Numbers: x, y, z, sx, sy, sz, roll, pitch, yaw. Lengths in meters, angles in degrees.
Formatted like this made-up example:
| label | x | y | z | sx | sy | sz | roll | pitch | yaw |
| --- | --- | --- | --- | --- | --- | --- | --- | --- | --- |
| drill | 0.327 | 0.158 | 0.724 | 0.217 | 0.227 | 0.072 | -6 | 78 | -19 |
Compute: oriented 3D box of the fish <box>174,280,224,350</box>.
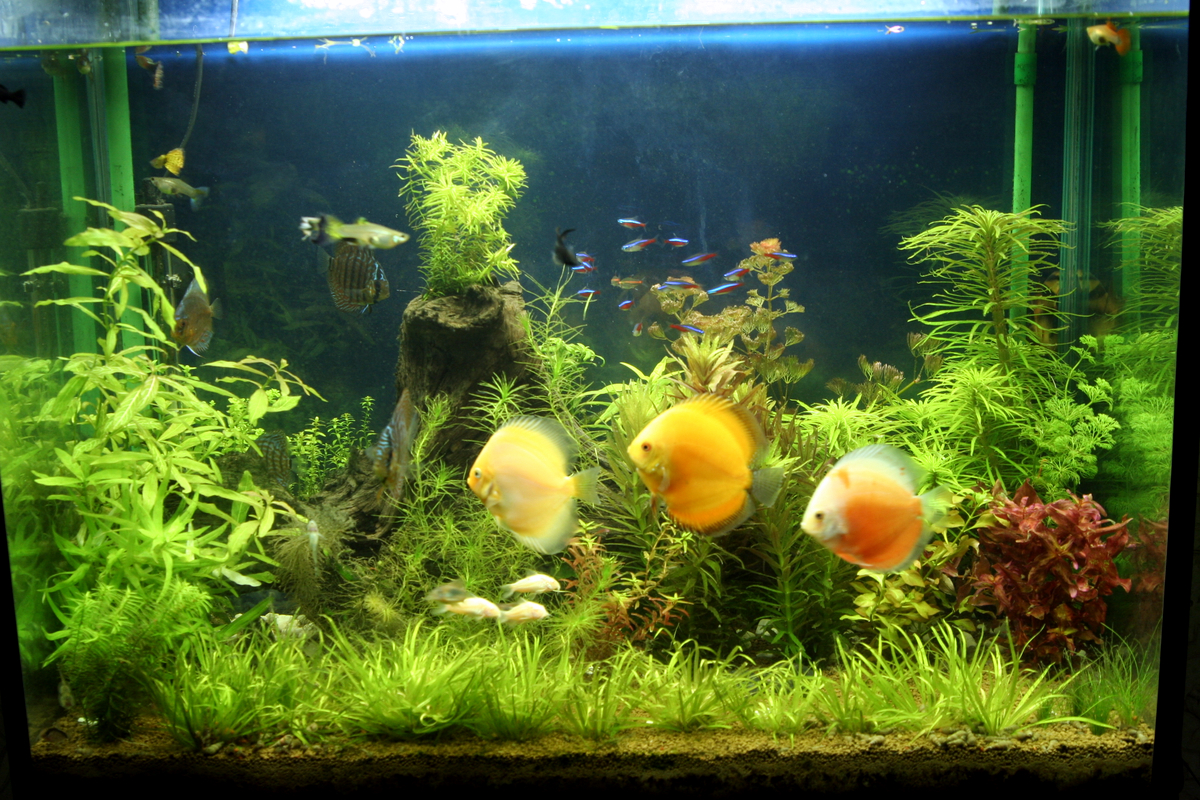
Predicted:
| label | x | y | z | sx | sy | sz | roll | pitch | yaw |
| --- | --- | --- | --- | --- | --- | --- | --- | --- | --- |
| fish | -2.153 | -0.430 | 5.665 | 0.202 | 0.376 | 0.091 | -1 | 4 | -10 |

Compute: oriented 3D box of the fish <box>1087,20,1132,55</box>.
| label | x | y | z | sx | sy | sz | roll | pitch | yaw |
| --- | --- | --- | --- | --- | --- | --- | --- | --- | --- |
| fish | 2.547 | -1.809 | 5.327 | 0.075 | 0.194 | 0.253 | -1 | 4 | -11 |

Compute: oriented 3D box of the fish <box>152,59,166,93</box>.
| label | x | y | z | sx | sy | sz | roll | pitch | yaw |
| --- | --- | --- | --- | --- | --- | --- | --- | --- | --- |
| fish | -2.351 | -1.724 | 5.668 | 0.068 | 0.141 | 0.014 | -1 | 4 | -16 |

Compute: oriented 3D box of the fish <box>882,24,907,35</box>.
| label | x | y | z | sx | sy | sz | roll | pitch | yaw |
| --- | --- | --- | --- | --- | --- | --- | --- | --- | --- |
| fish | 1.622 | -2.043 | 5.855 | 0.102 | 0.046 | 0.049 | 9 | 25 | 21 |

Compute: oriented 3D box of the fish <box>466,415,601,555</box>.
| label | x | y | z | sx | sy | sz | roll | pitch | yaw |
| --- | --- | --- | --- | --- | --- | --- | --- | --- | --- |
| fish | -0.299 | 0.426 | 4.890 | 0.777 | 0.657 | 0.145 | 3 | -1 | -14 |

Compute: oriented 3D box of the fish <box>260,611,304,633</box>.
| label | x | y | z | sx | sy | sz | roll | pitch | yaw |
| --- | --- | --- | --- | --- | --- | --- | --- | --- | --- |
| fish | -1.578 | 1.130 | 5.383 | 0.249 | 0.069 | 0.171 | 4 | 6 | 41 |

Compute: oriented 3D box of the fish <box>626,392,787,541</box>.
| label | x | y | z | sx | sy | sz | roll | pitch | yaw |
| --- | --- | --- | --- | --- | --- | --- | --- | --- | --- |
| fish | 0.456 | 0.300 | 4.552 | 0.744 | 0.589 | 0.151 | 15 | -1 | 34 |
